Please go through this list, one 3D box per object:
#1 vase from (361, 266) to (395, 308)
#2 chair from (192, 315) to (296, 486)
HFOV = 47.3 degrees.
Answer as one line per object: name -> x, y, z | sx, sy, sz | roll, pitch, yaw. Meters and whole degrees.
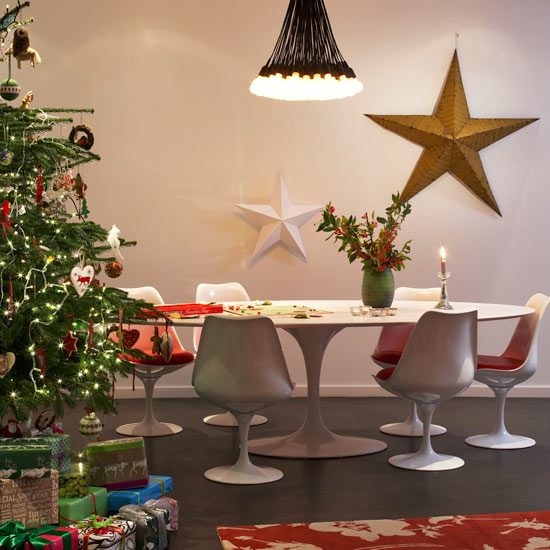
vase -> 0.517, 0.064, 3.150 | 0.162, 0.298, 0.172 | 1, -3, 0
chair -> -0.130, 0.523, 2.763 | 0.495, 0.917, 0.626 | 0, -1, 2
